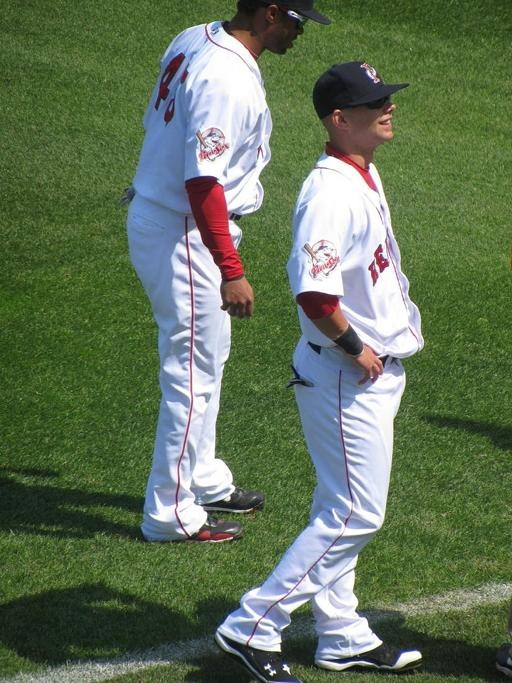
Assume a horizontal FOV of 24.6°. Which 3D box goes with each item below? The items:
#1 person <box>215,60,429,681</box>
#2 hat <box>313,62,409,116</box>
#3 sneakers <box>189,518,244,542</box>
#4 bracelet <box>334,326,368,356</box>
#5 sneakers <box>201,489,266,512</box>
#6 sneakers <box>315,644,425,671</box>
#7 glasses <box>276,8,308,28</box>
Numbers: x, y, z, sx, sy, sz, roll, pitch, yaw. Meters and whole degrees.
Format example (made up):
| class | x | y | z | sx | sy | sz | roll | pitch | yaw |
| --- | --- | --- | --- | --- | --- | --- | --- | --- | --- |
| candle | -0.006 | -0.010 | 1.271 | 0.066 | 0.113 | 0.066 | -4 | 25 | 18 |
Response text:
| class | x | y | z | sx | sy | sz | roll | pitch | yaw |
| --- | --- | --- | --- | --- | --- | --- | --- | --- | --- |
| person | 0.270 | 0.112 | 4.236 | 0.583 | 2.041 | 1.037 | 13 | 24 | -1 |
| hat | 0.372 | -0.925 | 4.270 | 0.375 | 0.179 | 0.263 | -2 | 18 | 27 |
| sneakers | -0.175 | 0.809 | 5.098 | 0.235 | 0.087 | 0.088 | -4 | 16 | -5 |
| bracelet | 0.319 | 0.000 | 4.114 | 0.075 | 0.101 | 0.058 | -14 | 44 | 37 |
| sneakers | -0.108 | 0.707 | 5.312 | 0.277 | 0.102 | 0.103 | -3 | 16 | -8 |
| sneakers | 0.413 | 1.168 | 4.375 | 0.383 | 0.127 | 0.136 | -4 | 6 | -1 |
| glasses | 0.151 | -1.296 | 4.690 | 0.071 | 0.027 | 0.054 | 23 | 14 | -18 |
